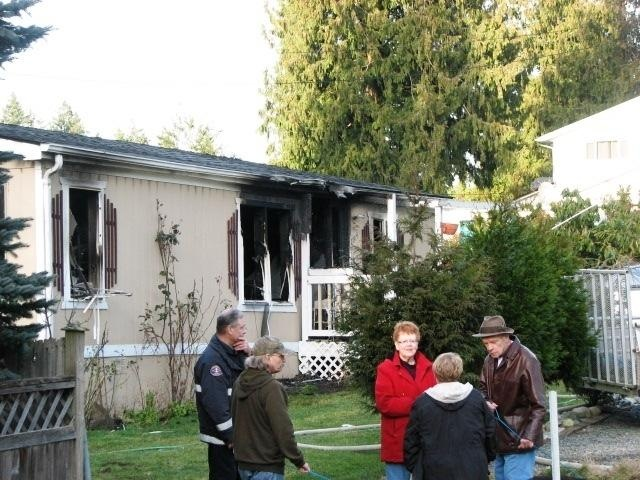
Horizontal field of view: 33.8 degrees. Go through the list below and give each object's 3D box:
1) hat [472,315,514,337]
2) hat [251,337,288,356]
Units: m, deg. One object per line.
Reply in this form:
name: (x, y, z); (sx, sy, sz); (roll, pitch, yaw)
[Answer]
hat: (2.734, 1.392, 16.764); (0.407, 0.235, 0.520); (-8, -7, 24)
hat: (-0.740, 1.529, 15.113); (0.327, 0.241, 0.270); (-5, 2, -9)
